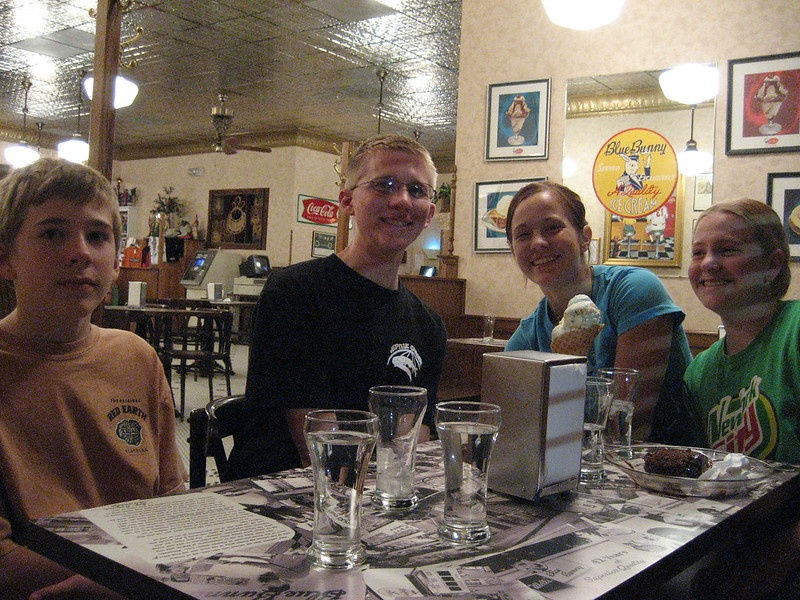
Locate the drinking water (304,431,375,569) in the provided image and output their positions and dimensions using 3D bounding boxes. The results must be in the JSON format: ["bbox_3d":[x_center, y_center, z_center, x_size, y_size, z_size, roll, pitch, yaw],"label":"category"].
[{"bbox_3d":[-0.098,0.305,0.956,0.108,0.181,0.178,2,3,-3],"label":"drinking water"}]

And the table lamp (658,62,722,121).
[{"bbox_3d":[2.132,-1.525,4.389,0.349,0.208,0.340,-3,2,-31],"label":"table lamp"}]

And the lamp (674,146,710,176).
[{"bbox_3d":[2.154,-1.018,4.402,0.215,0.144,0.205,0,1,-5],"label":"lamp"}]

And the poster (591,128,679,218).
[{"bbox_3d":[1.837,-0.973,4.595,0.707,0.803,0.090,11,-8,40],"label":"poster"}]
